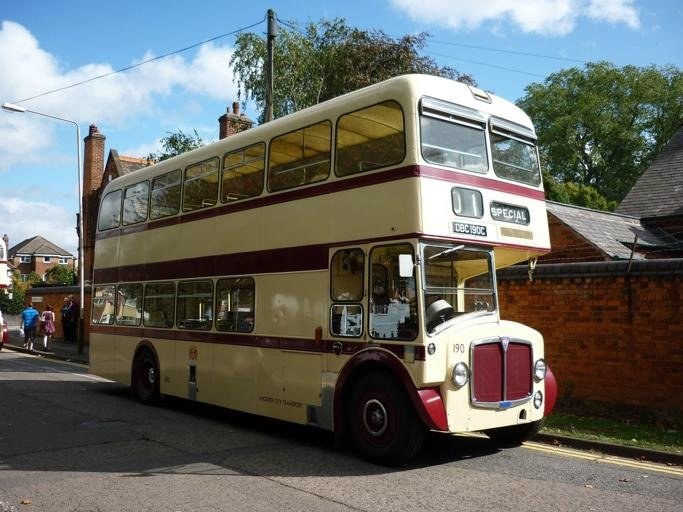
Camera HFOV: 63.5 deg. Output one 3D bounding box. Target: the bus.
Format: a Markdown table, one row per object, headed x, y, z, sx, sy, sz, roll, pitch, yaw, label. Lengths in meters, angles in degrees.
| x | y | z | sx | sy | sz | roll | pitch | yaw | label |
| --- | --- | --- | --- | --- | --- | --- | --- | --- | --- |
| -0.279 | 0.620 | 9.624 | 2.785 | 4.009 | 6.968 | 8 | -9 | -43 | bus |
